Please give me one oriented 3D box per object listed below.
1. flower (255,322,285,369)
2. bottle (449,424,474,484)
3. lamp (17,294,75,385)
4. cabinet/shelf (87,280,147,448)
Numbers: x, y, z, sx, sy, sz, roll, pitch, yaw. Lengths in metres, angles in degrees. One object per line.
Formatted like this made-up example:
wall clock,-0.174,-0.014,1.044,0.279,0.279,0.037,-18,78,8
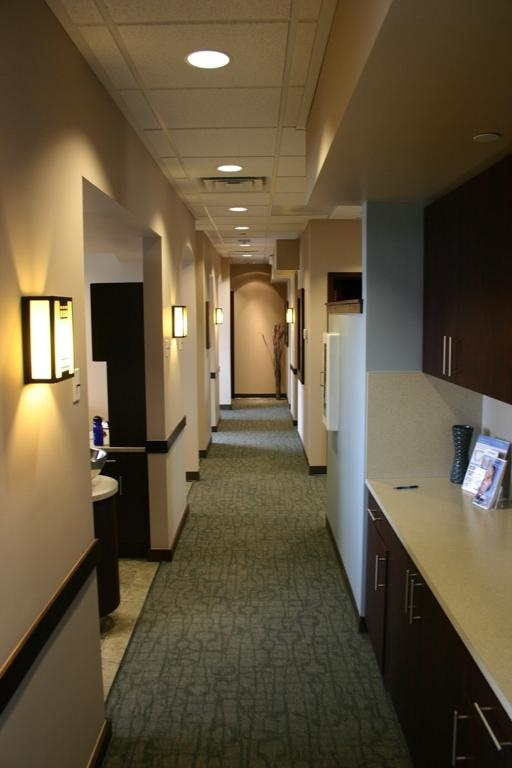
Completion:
flower,0.446,-0.982,12.142,0.430,0.922,0.551,-4,5,-32
bottle,1.087,0.376,2.672,0.091,0.305,0.080,-2,4,-10
lamp,-0.575,-0.120,1.377,0.059,0.253,0.220,0,5,5
cabinet/shelf,-1.032,-0.126,3.828,0.402,1.241,0.299,-2,4,-13
